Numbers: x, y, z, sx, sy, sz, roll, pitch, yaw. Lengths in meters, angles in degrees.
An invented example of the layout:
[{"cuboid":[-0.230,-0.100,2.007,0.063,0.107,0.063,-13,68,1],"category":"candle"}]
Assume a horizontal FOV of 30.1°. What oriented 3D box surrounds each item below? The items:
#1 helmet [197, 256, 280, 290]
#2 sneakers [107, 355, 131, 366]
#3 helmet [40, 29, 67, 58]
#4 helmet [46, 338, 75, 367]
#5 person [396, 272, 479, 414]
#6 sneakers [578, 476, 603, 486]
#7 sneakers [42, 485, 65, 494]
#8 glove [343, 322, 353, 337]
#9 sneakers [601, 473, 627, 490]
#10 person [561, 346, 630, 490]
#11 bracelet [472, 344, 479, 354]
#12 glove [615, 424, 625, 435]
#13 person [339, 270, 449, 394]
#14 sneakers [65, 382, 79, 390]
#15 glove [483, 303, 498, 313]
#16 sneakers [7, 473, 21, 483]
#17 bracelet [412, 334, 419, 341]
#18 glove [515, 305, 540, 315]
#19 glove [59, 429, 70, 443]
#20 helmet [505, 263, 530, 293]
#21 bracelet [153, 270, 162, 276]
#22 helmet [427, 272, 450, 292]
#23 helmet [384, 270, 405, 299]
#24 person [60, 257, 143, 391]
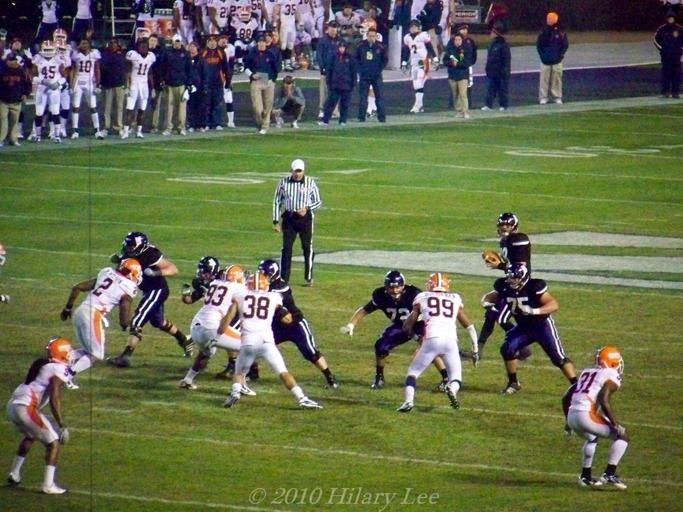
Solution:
[{"cuboid":[-1.357,0.189,15.500,0.658,0.285,0.530,-1,-3,-6],"category":"helmet"},{"cuboid":[-2.710,1.284,15.495,0.193,0.083,0.140,8,11,7],"category":"sneakers"},{"cuboid":[-3.013,-2.235,13.386,0.300,0.201,0.462,-1,-2,-40],"category":"helmet"},{"cuboid":[-2.713,0.932,12.214,0.255,0.229,0.190,-3,12,-34],"category":"helmet"},{"cuboid":[1.088,1.021,14.681,0.898,1.695,0.619,-3,-25,18],"category":"person"},{"cuboid":[2.541,2.302,12.909,0.234,0.107,0.095,1,40,11],"category":"sneakers"},{"cuboid":[-2.572,2.100,11.397,0.149,0.065,0.087,0,17,5],"category":"sneakers"},{"cuboid":[0.078,0.896,15.455,0.079,0.146,0.270,5,7,13],"category":"glove"},{"cuboid":[2.785,2.258,12.904,0.270,0.174,0.200,-1,15,-7],"category":"sneakers"},{"cuboid":[2.642,1.648,13.000,0.651,1.329,0.595,3,15,10],"category":"person"},{"cuboid":[1.697,1.162,16.031,0.073,0.123,0.122,1,1,5],"category":"bracelet"},{"cuboid":[2.833,1.755,12.812,0.082,0.101,0.127,7,16,23],"category":"glove"},{"cuboid":[0.666,0.916,15.248,1.189,1.438,0.824,-3,4,10],"category":"person"},{"cuboid":[-2.538,1.241,11.977,0.132,0.051,0.089,2,19,-6],"category":"sneakers"},{"cuboid":[1.816,0.615,15.327,0.051,0.167,0.105,-31,-14,-26],"category":"glove"},{"cuboid":[-2.977,2.041,11.565,0.048,0.132,0.055,-29,38,10],"category":"sneakers"},{"cuboid":[0.874,0.981,15.217,0.068,0.070,0.133,4,5,41],"category":"bracelet"},{"cuboid":[2.201,0.638,14.824,0.277,0.102,0.127,4,16,12],"category":"glove"},{"cuboid":[-2.552,1.665,11.716,0.092,0.101,0.110,0,12,-8],"category":"glove"},{"cuboid":[2.076,0.249,15.073,0.239,0.275,0.307,-3,29,42],"category":"helmet"},{"cuboid":[-2.273,0.214,15.740,0.064,0.063,0.060,0,-4,8],"category":"bracelet"},{"cuboid":[1.154,0.328,14.880,0.212,0.231,0.269,0,12,-11],"category":"helmet"},{"cuboid":[0.638,0.309,15.120,0.230,0.286,0.306,-1,23,1],"category":"helmet"},{"cuboid":[-2.551,0.661,13.122,0.670,1.473,0.528,29,14,15],"category":"person"}]
